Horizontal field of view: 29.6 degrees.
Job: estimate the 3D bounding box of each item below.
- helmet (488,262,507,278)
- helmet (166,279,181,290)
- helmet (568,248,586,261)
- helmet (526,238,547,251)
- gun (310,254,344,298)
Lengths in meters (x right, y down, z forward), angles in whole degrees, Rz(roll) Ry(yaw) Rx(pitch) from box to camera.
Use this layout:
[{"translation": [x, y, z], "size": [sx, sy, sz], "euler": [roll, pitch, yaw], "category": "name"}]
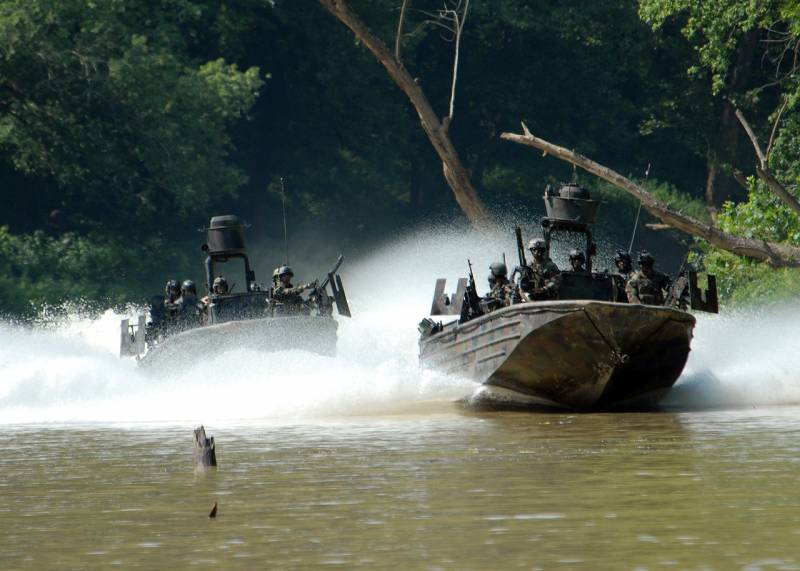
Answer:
[{"translation": [2.599, -0.391, 40.123], "size": [0.393, 0.316, 0.388], "euler": [24, 34, 34], "category": "helmet"}, {"translation": [-7.199, -0.037, 47.666], "size": [0.514, 0.372, 0.516], "euler": [6, 0, 13], "category": "helmet"}, {"translation": [4.659, -0.801, 39.868], "size": [0.395, 0.254, 0.273], "euler": [-3, 5, -33], "category": "helmet"}, {"translation": [3.521, -1.050, 39.101], "size": [0.405, 0.197, 0.297], "euler": [-15, -1, 22], "category": "helmet"}, {"translation": [-2.788, -0.395, 55.914], "size": [0.629, 2.100, 0.688], "euler": [43, 3, -6], "category": "gun"}]
